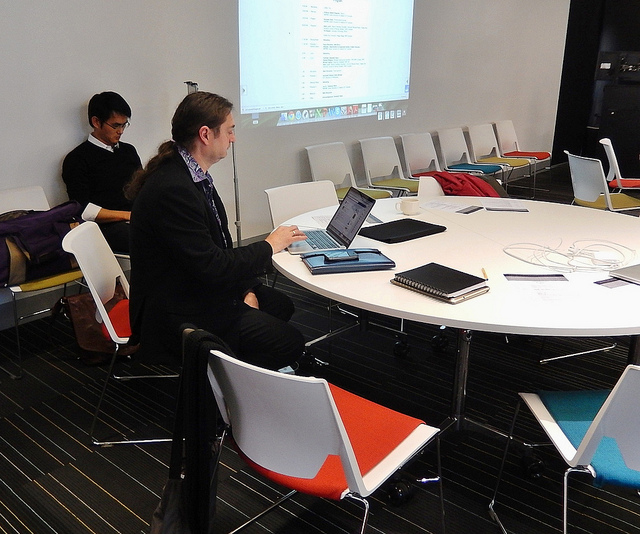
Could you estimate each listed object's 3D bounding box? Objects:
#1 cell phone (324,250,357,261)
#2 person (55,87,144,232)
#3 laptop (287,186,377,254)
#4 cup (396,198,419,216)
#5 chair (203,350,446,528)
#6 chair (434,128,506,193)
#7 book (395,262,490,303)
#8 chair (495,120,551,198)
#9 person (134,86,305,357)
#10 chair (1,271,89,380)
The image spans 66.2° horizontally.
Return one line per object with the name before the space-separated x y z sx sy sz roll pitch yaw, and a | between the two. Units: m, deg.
cell phone | 0.091 -0.056 2.131 0.137 0.026 0.129 -6 18 1
person | -1.426 -0.749 3.495 0.809 0.938 0.776 -2 32 -26
laptop | 0.053 -0.211 2.419 0.375 0.235 0.359 -4 23 -17
cup | 0.511 -0.354 2.876 0.113 0.073 0.077 -5 23 -6
chair | 0.018 0.619 1.678 0.431 0.653 0.475 21 36 34
chair | 2.007 -1.412 6.113 1.072 0.757 0.610 -18 30 -32
book | 0.465 0.045 1.888 0.178 0.044 0.221 -19 31 -35
chair | 2.894 -1.586 7.061 0.590 1.027 0.658 -24 29 -35
person | -0.452 -0.076 2.184 0.713 1.221 0.596 2 17 -22
chair | -1.700 0.374 3.021 0.308 0.437 0.435 25 32 38
